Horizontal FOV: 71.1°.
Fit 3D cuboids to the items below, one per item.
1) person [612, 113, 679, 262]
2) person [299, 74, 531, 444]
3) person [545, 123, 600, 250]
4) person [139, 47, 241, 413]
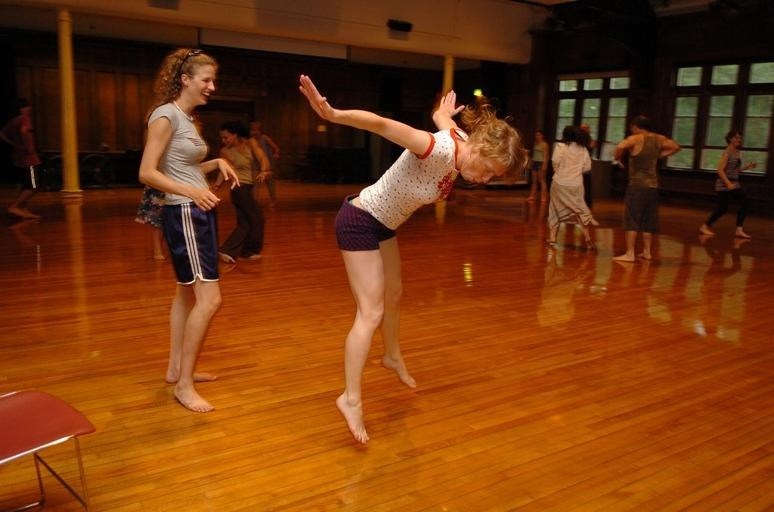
[{"bbox_3d":[3.452,-0.925,7.310,0.732,1.908,1.314,10,17,23],"label":"person"},{"bbox_3d":[0.076,0.026,3.138,1.168,1.976,0.669,-3,17,-17],"label":"person"},{"bbox_3d":[2.691,-0.990,7.788,0.677,1.728,0.371,7,17,14],"label":"person"},{"bbox_3d":[-1.187,-0.152,3.248,0.523,2.132,0.640,-2,17,-15],"label":"person"}]
